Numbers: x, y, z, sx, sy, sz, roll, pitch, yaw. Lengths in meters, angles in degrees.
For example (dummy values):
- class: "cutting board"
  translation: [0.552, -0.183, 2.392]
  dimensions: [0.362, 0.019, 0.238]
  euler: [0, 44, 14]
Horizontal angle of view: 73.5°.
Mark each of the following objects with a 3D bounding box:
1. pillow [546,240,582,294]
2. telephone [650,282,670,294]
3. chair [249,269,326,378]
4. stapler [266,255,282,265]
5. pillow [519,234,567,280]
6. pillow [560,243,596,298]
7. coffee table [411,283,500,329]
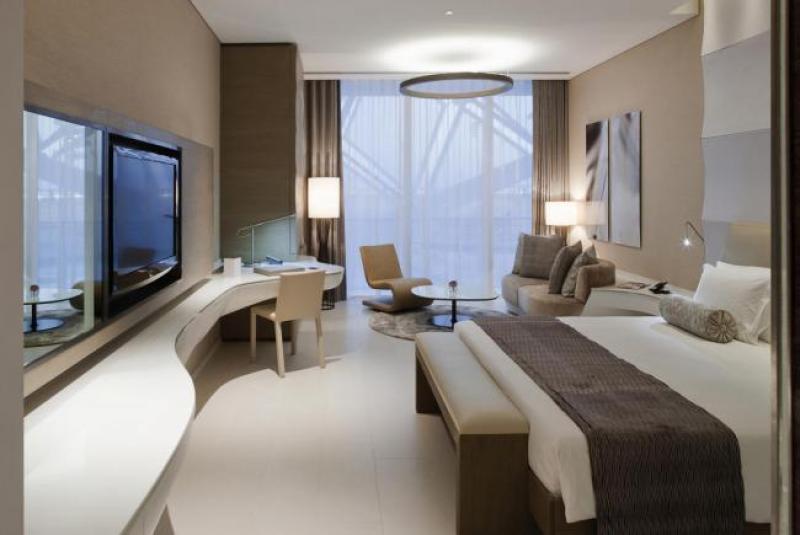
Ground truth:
- class: "pillow"
  translation: [1.786, -0.135, 5.897]
  dimensions: [0.291, 0.591, 0.669]
  euler: [-2, 33, 21]
- class: "telephone"
  translation: [2.316, 0.185, 4.718]
  dimensions: [0.161, 0.060, 0.130]
  euler: [-7, 9, -16]
- class: "chair"
  translation: [-0.950, 0.421, 4.593]
  dimensions: [0.533, 0.856, 0.576]
  euler: [-7, 13, -38]
- class: "stapler"
  translation: [-1.219, -0.073, 5.151]
  dimensions: [0.210, 0.094, 0.037]
  euler: [13, 20, 43]
- class: "pillow"
  translation: [1.740, -0.118, 6.609]
  dimensions: [0.508, 0.565, 0.233]
  euler: [10, -4, 40]
- class: "pillow"
  translation: [1.854, 0.019, 5.707]
  dimensions: [0.333, 0.676, 0.723]
  euler: [4, 5, 3]
- class: "coffee table"
  translation: [0.592, 0.336, 5.843]
  dimensions: [0.589, 0.235, 0.615]
  euler: [-4, 8, -19]
